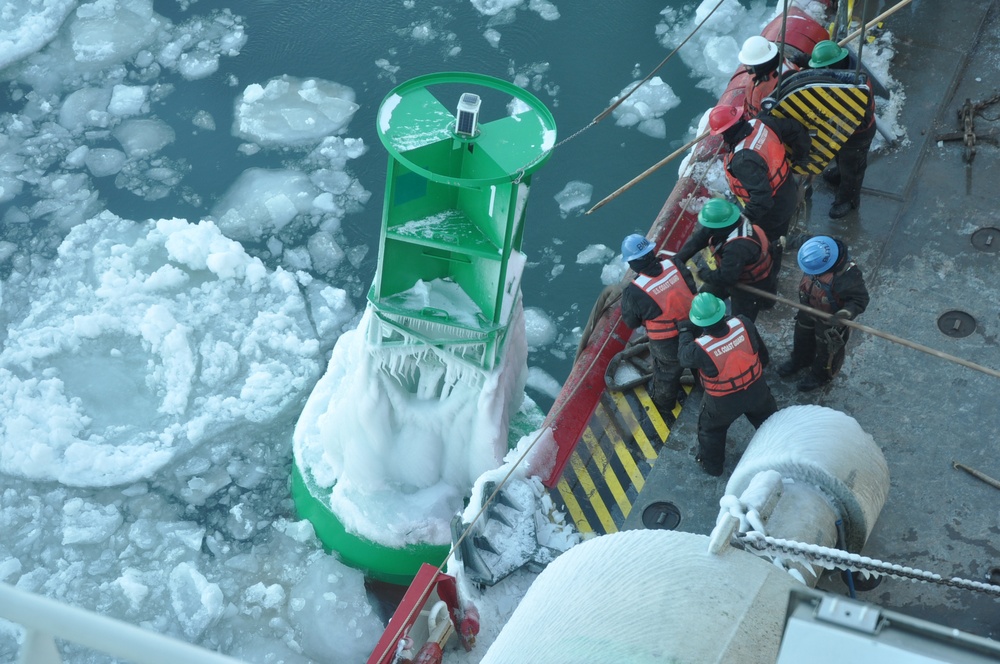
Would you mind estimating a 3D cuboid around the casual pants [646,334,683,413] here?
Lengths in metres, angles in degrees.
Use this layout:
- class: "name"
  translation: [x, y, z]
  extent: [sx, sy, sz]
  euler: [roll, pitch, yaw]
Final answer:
- class: "casual pants"
  translation: [1.654, 0.424, 10.769]
  extent: [0.290, 0.308, 1.147]
  euler: [14, 47, -6]

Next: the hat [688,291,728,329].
- class: "hat"
  translation: [1.887, -0.187, 9.805]
  extent: [0.276, 0.166, 0.321]
  euler: [-24, 41, 8]

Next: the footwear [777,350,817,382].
- class: "footwear"
  translation: [2.949, 0.360, 10.860]
  extent: [0.413, 0.386, 0.173]
  euler: [-3, 67, 5]

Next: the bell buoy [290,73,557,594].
- class: "bell buoy"
  translation: [-0.848, 0.266, 12.205]
  extent: [3.329, 5.862, 3.219]
  euler: [10, 40, -7]

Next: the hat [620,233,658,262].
- class: "hat"
  translation: [1.287, -0.788, 10.417]
  extent: [0.278, 0.168, 0.319]
  euler: [-38, 22, -26]

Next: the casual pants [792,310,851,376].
- class: "casual pants"
  translation: [3.217, 0.130, 10.625]
  extent: [0.390, 0.674, 0.518]
  euler: [9, 3, -28]

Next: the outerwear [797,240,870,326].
- class: "outerwear"
  translation: [3.098, -0.474, 10.279]
  extent: [0.600, 0.798, 0.491]
  euler: [-3, -3, -17]
